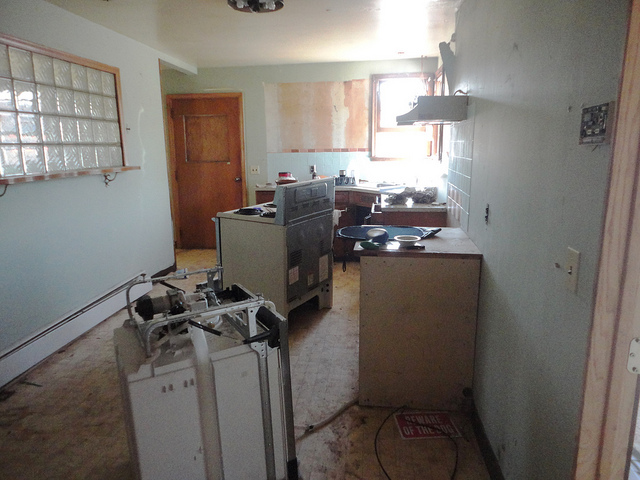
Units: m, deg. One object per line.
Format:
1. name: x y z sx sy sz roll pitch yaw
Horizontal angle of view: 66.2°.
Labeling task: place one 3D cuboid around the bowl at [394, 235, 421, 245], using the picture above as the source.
1. bowl: 0.504 -0.004 2.858 0.140 0.027 0.248 0 13 12

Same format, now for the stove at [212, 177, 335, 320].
1. stove: -0.312 0.018 3.925 0.814 1.115 0.937 -3 16 -34

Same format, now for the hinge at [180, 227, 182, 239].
1. hinge: -1.803 -0.084 6.299 0.033 0.114 0.009 -1 13 9

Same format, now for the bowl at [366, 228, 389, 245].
1. bowl: 0.341 -0.030 2.845 0.092 0.060 0.093 -2 10 0

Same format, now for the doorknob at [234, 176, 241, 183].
1. doorknob: -1.051 -0.762 6.153 0.071 0.075 0.022 1 -2 0
